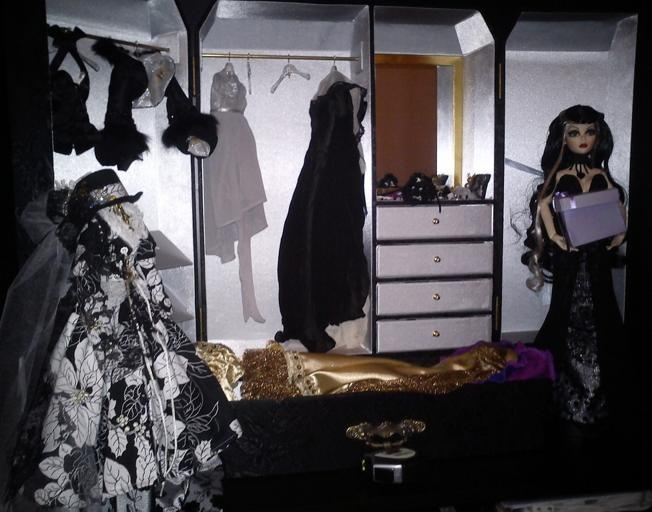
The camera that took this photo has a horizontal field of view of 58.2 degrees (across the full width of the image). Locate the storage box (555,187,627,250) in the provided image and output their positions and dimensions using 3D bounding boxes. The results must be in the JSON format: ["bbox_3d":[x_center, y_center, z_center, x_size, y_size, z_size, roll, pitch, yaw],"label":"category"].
[{"bbox_3d":[1.484,-0.206,3.450,0.476,0.365,0.285,-10,-4,-18],"label":"storage box"}]

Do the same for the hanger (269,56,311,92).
[{"bbox_3d":[-0.223,-1.172,3.800,0.266,0.222,0.231,0,6,-6],"label":"hanger"}]

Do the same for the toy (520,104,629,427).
[{"bbox_3d":[1.472,-0.023,3.457,0.528,1.718,0.958,2,6,20],"label":"toy"}]

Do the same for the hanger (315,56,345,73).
[{"bbox_3d":[0.031,-1.245,3.797,0.179,0.128,0.046,0,9,-2],"label":"hanger"}]

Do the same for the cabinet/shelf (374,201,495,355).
[{"bbox_3d":[0.719,0.226,3.818,0.762,1.022,0.529,0,-17,9],"label":"cabinet/shelf"}]

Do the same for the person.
[{"bbox_3d":[0.118,0.513,2.665,1.444,0.199,0.344,1,6,-1],"label":"person"}]
